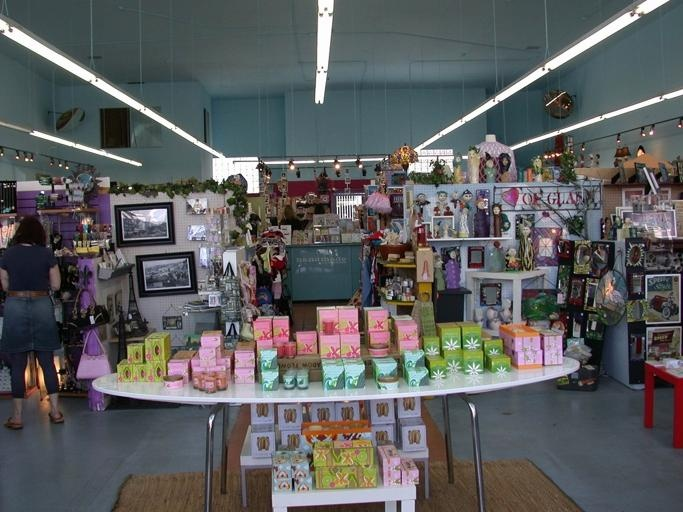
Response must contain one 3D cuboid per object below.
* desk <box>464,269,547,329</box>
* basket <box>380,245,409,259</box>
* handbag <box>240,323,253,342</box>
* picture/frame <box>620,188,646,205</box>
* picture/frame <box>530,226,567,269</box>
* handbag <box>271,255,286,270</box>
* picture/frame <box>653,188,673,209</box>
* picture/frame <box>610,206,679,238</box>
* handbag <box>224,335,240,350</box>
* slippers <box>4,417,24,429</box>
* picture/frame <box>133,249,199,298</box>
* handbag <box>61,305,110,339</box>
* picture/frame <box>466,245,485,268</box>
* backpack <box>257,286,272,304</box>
[{"bbox_3d":[2.373,0.493,8.234,0.782,0.893,0.833,-2,2,-28],"label":"desk"},{"bbox_3d":[0.695,-0.064,8.147,0.451,0.220,0.274,0,3,43],"label":"basket"},{"bbox_3d":[-1.006,0.816,6.072,0.115,0.234,0.545,-3,2,-8],"label":"handbag"},{"bbox_3d":[4.221,-0.862,8.274,0.234,0.238,0.025,-7,-4,-9],"label":"picture/frame"},{"bbox_3d":[3.052,-0.140,8.375,0.447,0.583,0.070,-2,2,1],"label":"picture/frame"},{"bbox_3d":[-1.013,0.110,8.970,0.202,0.222,0.155,2,0,39],"label":"handbag"},{"bbox_3d":[4.627,-0.828,8.212,0.298,0.259,0.324,0,-4,0],"label":"picture/frame"},{"bbox_3d":[4.225,-0.469,7.951,0.860,0.468,0.788,-3,2,-5],"label":"picture/frame"},{"bbox_3d":[-1.330,1.040,6.912,0.185,0.097,0.179,-3,3,-12],"label":"handbag"},{"bbox_3d":[-3.764,1.895,6.530,0.213,0.104,0.106,-3,-5,37],"label":"slippers"},{"bbox_3d":[-2.475,0.247,7.894,0.533,0.454,0.027,-7,2,-7],"label":"picture/frame"},{"bbox_3d":[-3.160,0.800,7.007,0.338,0.322,0.168,-15,0,-4],"label":"handbag"},{"bbox_3d":[1.980,-0.013,8.406,0.271,0.412,0.039,0,2,-4],"label":"picture/frame"},{"bbox_3d":[-1.201,0.607,8.821,0.231,0.245,0.359,-3,2,-8],"label":"backpack"}]
